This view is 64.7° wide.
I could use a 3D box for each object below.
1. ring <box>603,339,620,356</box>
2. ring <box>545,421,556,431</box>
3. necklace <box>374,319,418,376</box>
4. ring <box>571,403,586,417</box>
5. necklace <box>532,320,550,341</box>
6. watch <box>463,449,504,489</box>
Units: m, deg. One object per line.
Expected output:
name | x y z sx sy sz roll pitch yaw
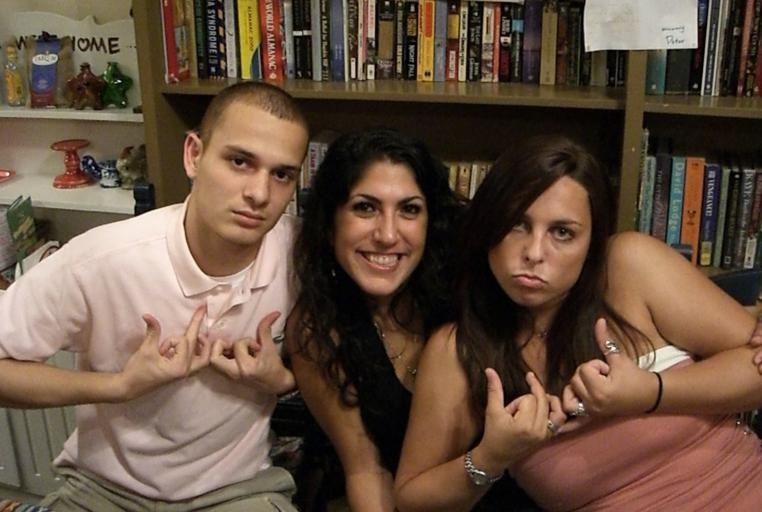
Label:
ring | 0.589 0.237 1.557 0.040 0.029 0.014 13 -25 10
ring | 0.431 0.436 1.538 0.007 0.027 0.027 -22 17 14
necklace | 0.044 0.285 1.935 0.119 0.171 0.059 -22 0 -4
ring | 0.507 0.397 1.553 0.032 0.016 0.042 2 3 -6
necklace | 0.447 0.212 1.702 0.045 0.049 0.012 33 15 -5
watch | 0.256 0.558 1.538 0.089 0.036 0.096 20 19 -22
